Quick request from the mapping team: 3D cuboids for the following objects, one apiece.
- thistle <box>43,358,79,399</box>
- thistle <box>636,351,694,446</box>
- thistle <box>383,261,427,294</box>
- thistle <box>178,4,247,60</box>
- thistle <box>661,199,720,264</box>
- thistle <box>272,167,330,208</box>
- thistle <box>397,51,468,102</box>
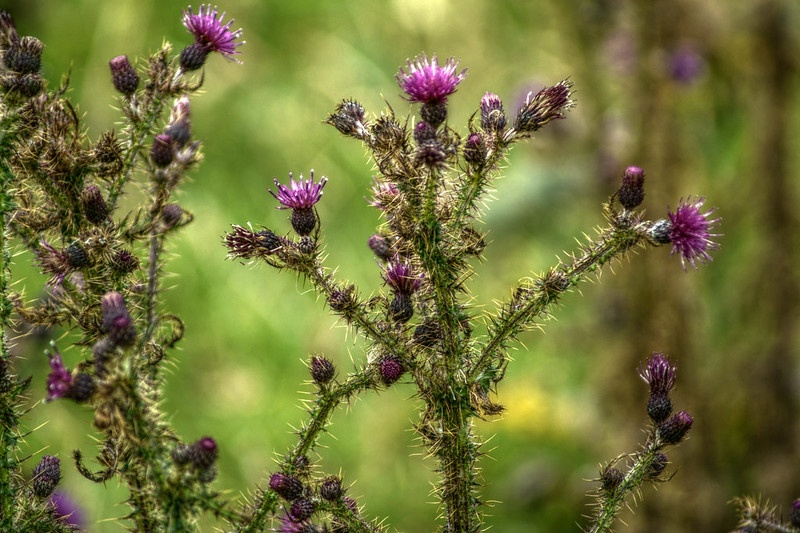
[{"bbox_3d":[-1.279,0.423,4.752,0.112,0.190,0.129,-14,-10,32],"label":"thistle"},{"bbox_3d":[1.043,0.512,4.942,0.178,0.327,0.222,-5,1,12],"label":"thistle"},{"bbox_3d":[0.014,0.046,4.936,0.107,0.144,0.127,20,-27,-17],"label":"thistle"},{"bbox_3d":[-0.760,-0.952,5.071,0.227,0.232,0.318,-6,1,-11],"label":"thistle"},{"bbox_3d":[1.099,-0.170,4.930,0.205,0.226,0.222,-21,0,-6],"label":"thistle"},{"bbox_3d":[-0.412,-0.304,5.069,0.222,0.154,0.347,-6,1,-6],"label":"thistle"},{"bbox_3d":[0.123,-0.755,4.969,0.269,0.235,0.317,-5,10,-2],"label":"thistle"}]
